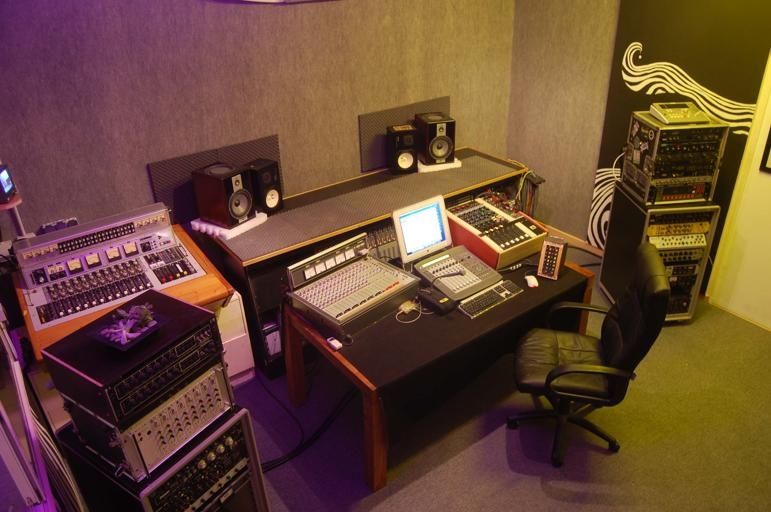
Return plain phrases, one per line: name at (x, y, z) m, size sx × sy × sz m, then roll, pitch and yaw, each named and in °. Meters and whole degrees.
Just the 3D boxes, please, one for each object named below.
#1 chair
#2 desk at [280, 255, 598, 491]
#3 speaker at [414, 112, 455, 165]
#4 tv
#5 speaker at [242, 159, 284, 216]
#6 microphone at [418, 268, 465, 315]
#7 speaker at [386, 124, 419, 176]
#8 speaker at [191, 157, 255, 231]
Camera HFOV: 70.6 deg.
chair at (1.405, 0.670, 3.901) m, size 0.952 × 1.455 × 0.911 m, roll -3°, pitch 27°, yaw -1°
desk at (0.164, 0.480, 3.912) m, size 2.228 × 1.017 × 1.468 m, roll -23°, pitch 39°, yaw -28°
speaker at (0.457, -1.096, 5.069) m, size 0.353 × 0.395 × 0.385 m, roll 2°, pitch 25°, yaw 6°
tv at (0.287, -0.190, 4.190) m, size 0.442 × 0.388 × 0.045 m, roll -25°, pitch 21°, yaw -25°
speaker at (-0.991, -0.547, 4.311) m, size 0.245 × 0.416 × 0.241 m, roll 27°, pitch 44°, yaw 31°
microphone at (0.424, 0.226, 3.993) m, size 0.259 × 0.270 × 0.263 m, roll 26°, pitch 41°, yaw 37°
speaker at (0.208, -0.914, 4.995) m, size 0.309 × 0.403 × 0.319 m, roll -11°, pitch -19°, yaw 40°
speaker at (-1.279, -0.484, 4.272) m, size 0.418 × 0.425 × 0.310 m, roll 21°, pitch 35°, yaw 36°
